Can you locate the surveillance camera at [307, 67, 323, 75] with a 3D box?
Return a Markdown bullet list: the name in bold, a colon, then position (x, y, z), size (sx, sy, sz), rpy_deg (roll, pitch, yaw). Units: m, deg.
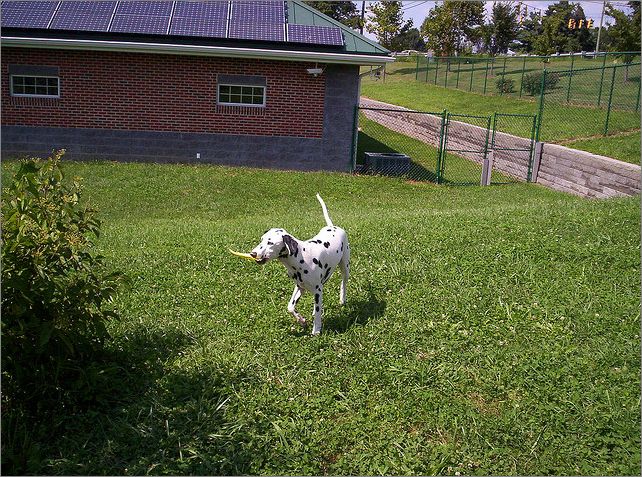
- **surveillance camera**: position (-0.186, -5.481, 20.590), size (0.537, 0.229, 0.201), rpy_deg (1, 13, -2)
